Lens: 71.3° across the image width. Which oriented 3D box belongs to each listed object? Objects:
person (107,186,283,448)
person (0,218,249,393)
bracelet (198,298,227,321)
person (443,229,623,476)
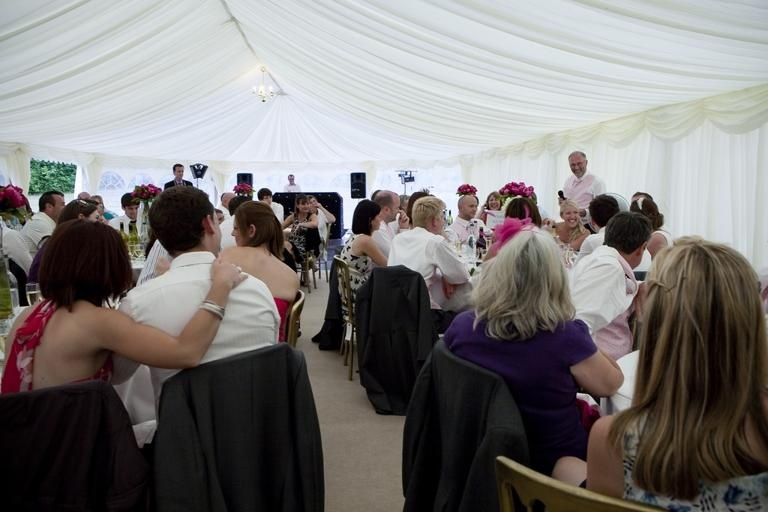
[{"bbox_3d":[-0.983,0.160,2.998,0.621,0.743,1.460,3,-27,-11],"label":"person"},{"bbox_3d":[-1.238,0.265,2.610,0.516,1.244,0.746,23,21,27],"label":"person"},{"bbox_3d":[-0.802,0.250,2.507,0.092,0.052,0.088,27,-9,3],"label":"bracelet"},{"bbox_3d":[0.906,0.603,2.948,0.784,1.639,0.906,11,29,44],"label":"person"}]
